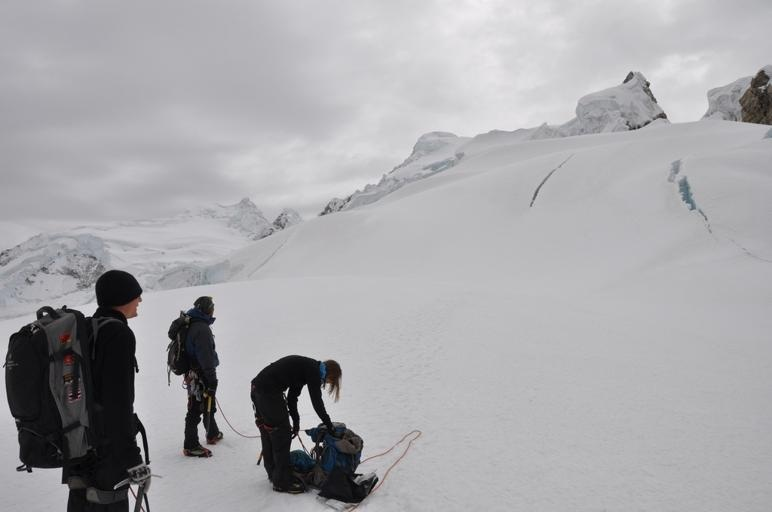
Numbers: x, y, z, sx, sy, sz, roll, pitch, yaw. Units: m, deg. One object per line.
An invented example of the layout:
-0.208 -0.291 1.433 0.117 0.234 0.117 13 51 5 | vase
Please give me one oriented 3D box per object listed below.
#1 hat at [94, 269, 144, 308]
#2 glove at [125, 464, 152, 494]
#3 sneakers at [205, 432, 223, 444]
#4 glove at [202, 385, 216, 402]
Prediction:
-6.360 0.762 16.505 0.944 0.807 0.956 7 14 39 | hat
-5.718 5.126 16.118 0.619 0.607 0.270 6 2 -25 | glove
-4.943 5.278 20.071 0.577 0.241 0.199 -22 -17 -2 | sneakers
-4.879 3.822 19.312 0.359 0.367 0.188 -11 1 -41 | glove
